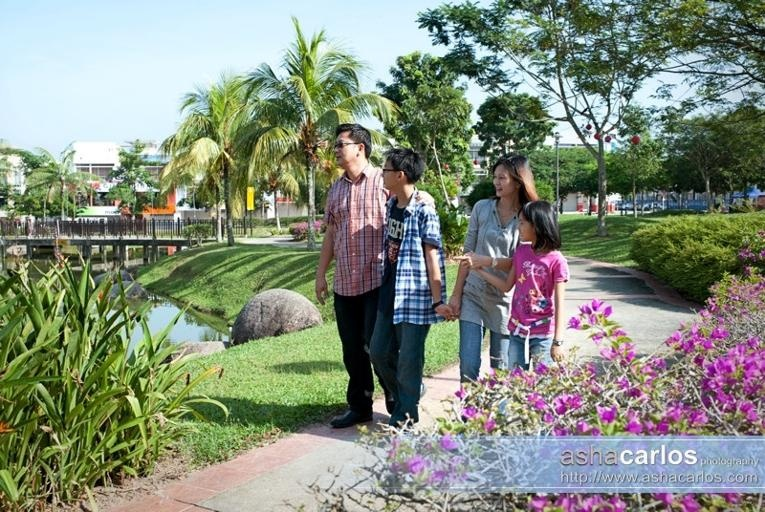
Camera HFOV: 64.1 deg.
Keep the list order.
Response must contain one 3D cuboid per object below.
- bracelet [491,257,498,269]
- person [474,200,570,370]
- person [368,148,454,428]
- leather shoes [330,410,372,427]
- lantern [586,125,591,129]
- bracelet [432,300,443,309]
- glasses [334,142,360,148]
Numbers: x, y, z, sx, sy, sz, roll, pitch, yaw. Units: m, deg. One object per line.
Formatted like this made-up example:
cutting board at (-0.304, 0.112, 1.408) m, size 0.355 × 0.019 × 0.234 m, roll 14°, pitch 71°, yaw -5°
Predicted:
bracelet at (0.915, 0.035, 5.061) m, size 0.052 × 0.085 × 0.078 m, roll 2°, pitch -2°, yaw 3°
person at (1.156, 0.236, 4.881) m, size 0.580 × 1.367 × 0.548 m, roll 0°, pitch 5°, yaw 24°
person at (0.224, 0.257, 5.154) m, size 0.745 × 2.343 × 0.488 m, roll 0°, pitch 5°, yaw 23°
leather shoes at (-0.287, 1.486, 5.715) m, size 0.388 × 0.172 × 0.144 m, roll -2°, pitch -2°, yaw -20°
lantern at (8.297, -5.271, 24.783) m, size 0.199 × 0.249 × 0.212 m, roll -2°, pitch 4°, yaw 6°
bracelet at (0.453, 0.393, 5.004) m, size 0.069 × 0.028 × 0.068 m, roll -24°, pitch -5°, yaw -35°
glasses at (-0.339, -1.041, 5.666) m, size 0.209 × 0.065 × 0.061 m, roll -2°, pitch 5°, yaw -1°
